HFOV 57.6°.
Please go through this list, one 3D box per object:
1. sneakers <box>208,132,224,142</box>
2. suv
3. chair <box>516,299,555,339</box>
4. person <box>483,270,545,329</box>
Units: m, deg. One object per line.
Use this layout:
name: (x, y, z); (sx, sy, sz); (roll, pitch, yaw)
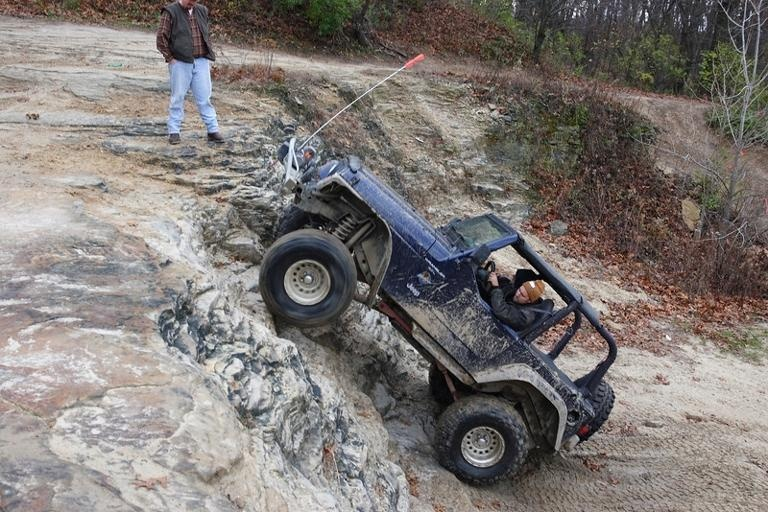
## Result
sneakers: (-3.067, -2.147, 12.725); (0.277, 0.129, 0.152); (3, 40, -2)
suv: (1.077, 0.813, 12.192); (7.112, 3.648, 3.854); (47, 9, -18)
chair: (2.450, 0.956, 11.313); (0.571, 0.627, 0.443); (21, 6, -18)
person: (2.105, 0.736, 11.059); (0.912, 0.421, 0.827); (18, 68, 6)
